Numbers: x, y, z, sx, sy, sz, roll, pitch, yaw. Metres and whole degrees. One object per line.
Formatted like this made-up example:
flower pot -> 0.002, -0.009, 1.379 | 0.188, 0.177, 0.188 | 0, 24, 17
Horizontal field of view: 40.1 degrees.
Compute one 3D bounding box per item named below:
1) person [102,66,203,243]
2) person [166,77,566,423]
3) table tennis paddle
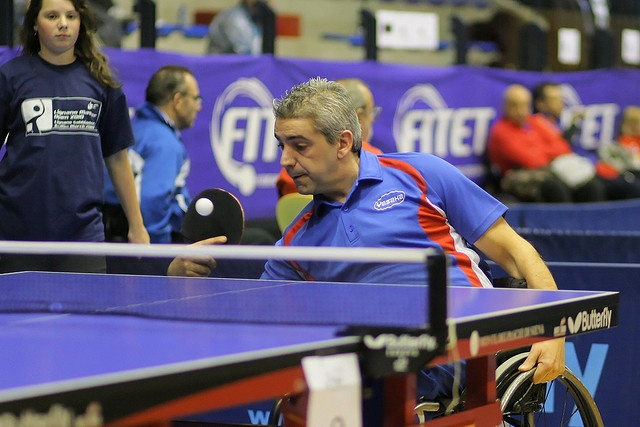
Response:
person -> -1.285, -0.121, 7.233 | 0.569, 2.117, 1.054 | 0, 21, -8
person -> 0.583, -0.020, 4.944 | 1.207, 2.334, 1.186 | 0, 2, 15
table tennis paddle -> -0.576, 0.038, 4.715 | 0.256, 0.319, 0.097 | 17, 9, 9
